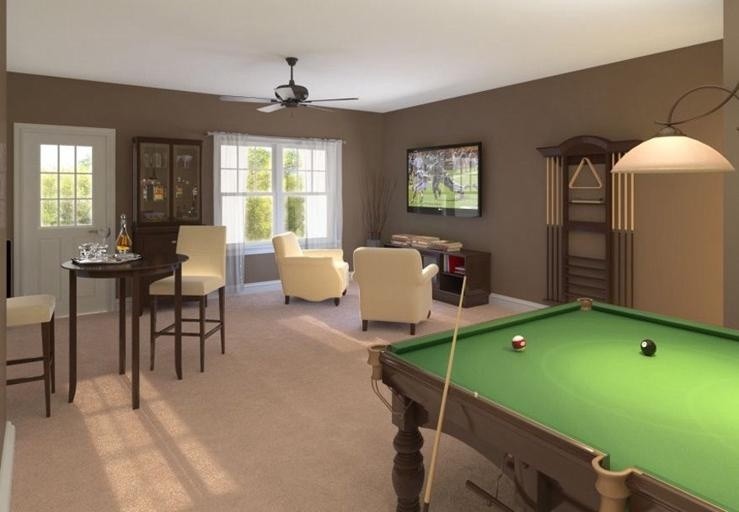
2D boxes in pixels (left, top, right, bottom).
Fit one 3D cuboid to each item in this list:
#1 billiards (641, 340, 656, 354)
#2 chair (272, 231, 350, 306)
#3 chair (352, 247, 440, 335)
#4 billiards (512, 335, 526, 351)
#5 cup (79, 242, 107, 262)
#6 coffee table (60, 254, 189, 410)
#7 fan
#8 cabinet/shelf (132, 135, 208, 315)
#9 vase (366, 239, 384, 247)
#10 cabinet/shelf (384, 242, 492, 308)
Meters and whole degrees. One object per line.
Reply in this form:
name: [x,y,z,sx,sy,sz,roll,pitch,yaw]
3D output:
billiards: [1.568,0.519,2.987,0.070,0.086,0.084,-7,-14,42]
chair: [-0.807,0.135,7.576,1.020,0.994,1.007,0,4,-4]
chair: [0.309,0.334,6.363,1.033,1.032,1.150,-2,9,-14]
billiards: [0.858,0.502,3.072,0.076,0.082,0.080,1,9,28]
cup: [-2.480,-0.026,4.757,0.246,0.139,0.260,1,-1,0]
coffee table: [-2.093,0.624,4.606,0.879,1.151,1.136,1,2,8]
fan: [-0.875,-1.830,6.382,1.128,0.415,1.112,-2,-4,24]
cabinet/shelf: [-2.677,-0.470,7.284,0.968,2.246,0.422,-2,0,-10]
vase: [0.081,-0.205,9.036,0.162,0.102,0.161,2,6,36]
cabinet/shelf: [0.957,0.253,8.184,0.502,0.766,1.924,-6,9,-32]
